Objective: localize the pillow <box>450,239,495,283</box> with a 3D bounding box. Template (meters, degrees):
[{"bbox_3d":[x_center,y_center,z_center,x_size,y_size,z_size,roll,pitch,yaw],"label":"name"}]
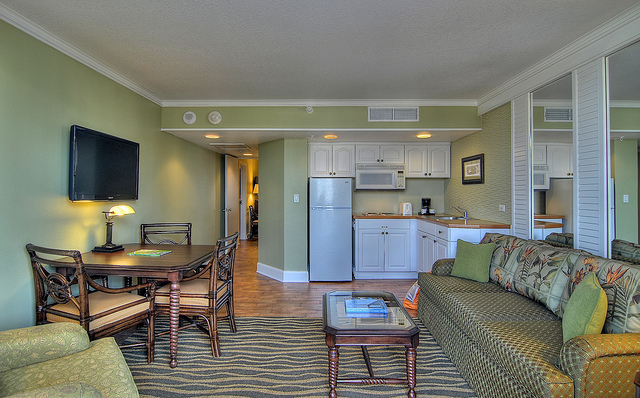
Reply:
[{"bbox_3d":[1.792,0.729,4.989,0.498,0.423,0.148,6,-16,43],"label":"pillow"}]

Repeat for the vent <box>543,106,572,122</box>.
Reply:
[{"bbox_3d":[2.765,-0.995,4.941,0.109,0.196,0.421,-3,9,-20],"label":"vent"}]

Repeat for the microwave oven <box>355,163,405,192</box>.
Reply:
[{"bbox_3d":[1.011,-0.353,7.054,0.995,0.395,0.594,2,0,6],"label":"microwave oven"}]

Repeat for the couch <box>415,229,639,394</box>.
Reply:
[{"bbox_3d":[2.025,1.140,4.227,1.214,1.390,1.836,0,1,-13],"label":"couch"}]

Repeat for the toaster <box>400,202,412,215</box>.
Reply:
[{"bbox_3d":[1.454,0.153,7.156,0.204,0.219,0.180,5,-7,-33],"label":"toaster"}]

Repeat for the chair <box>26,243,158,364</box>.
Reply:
[{"bbox_3d":[-2.380,1.132,4.451,1.121,1.196,1.042,3,-1,-45],"label":"chair"}]

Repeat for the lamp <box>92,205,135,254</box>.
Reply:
[{"bbox_3d":[-2.431,0.351,4.964,0.634,0.657,0.444,0,1,-5],"label":"lamp"}]

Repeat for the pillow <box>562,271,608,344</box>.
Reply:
[{"bbox_3d":[2.393,0.942,3.803,0.278,0.491,0.607,-6,9,26],"label":"pillow"}]

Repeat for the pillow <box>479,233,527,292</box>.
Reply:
[{"bbox_3d":[2.084,0.687,4.830,0.365,0.484,0.693,2,2,3],"label":"pillow"}]

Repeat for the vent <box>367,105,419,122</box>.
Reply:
[{"bbox_3d":[1.065,-1.259,6.198,0.725,0.236,0.046,0,2,1],"label":"vent"}]

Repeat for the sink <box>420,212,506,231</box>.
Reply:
[{"bbox_3d":[2.033,0.323,6.036,0.710,0.186,0.914,0,1,-9],"label":"sink"}]

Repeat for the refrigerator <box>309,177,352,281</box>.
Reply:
[{"bbox_3d":[0.181,0.476,6.995,0.734,1.511,0.720,0,0,1],"label":"refrigerator"}]

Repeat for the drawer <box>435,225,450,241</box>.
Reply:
[{"bbox_3d":[1.710,0.459,5.921,0.171,0.122,0.292,1,-1,7],"label":"drawer"}]

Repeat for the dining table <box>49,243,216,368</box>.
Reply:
[{"bbox_3d":[-1.644,1.182,5.052,1.573,1.197,2.318,0,-1,3],"label":"dining table"}]
